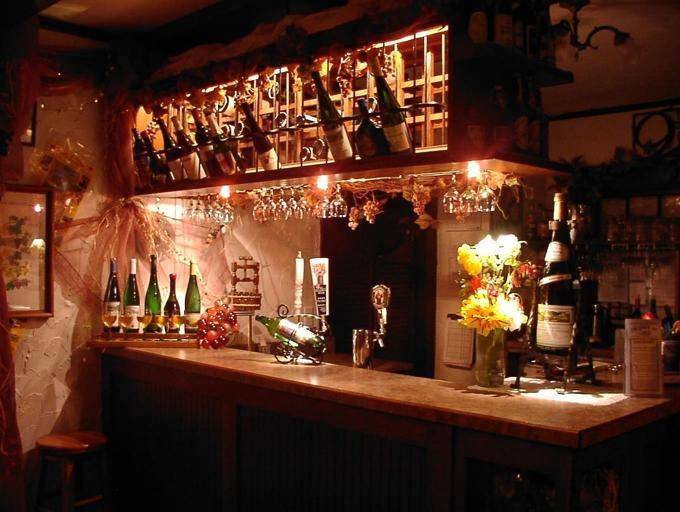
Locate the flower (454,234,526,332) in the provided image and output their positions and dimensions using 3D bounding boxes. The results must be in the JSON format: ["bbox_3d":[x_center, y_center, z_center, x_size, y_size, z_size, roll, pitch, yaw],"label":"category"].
[{"bbox_3d":[0.715,0.126,2.670,0.309,0.445,0.377,-2,8,11],"label":"flower"}]

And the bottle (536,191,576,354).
[{"bbox_3d":[0.996,0.073,2.580,0.236,0.702,0.196,-10,10,-42],"label":"bottle"}]

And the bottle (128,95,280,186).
[{"bbox_3d":[-0.862,-0.721,3.590,0.608,0.315,0.099,-16,6,24],"label":"bottle"}]

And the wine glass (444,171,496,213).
[{"bbox_3d":[0.642,-0.322,2.805,0.189,0.177,0.077,0,-7,-15],"label":"wine glass"}]

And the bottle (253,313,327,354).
[{"bbox_3d":[-0.310,0.444,3.250,0.469,0.160,0.158,21,24,25],"label":"bottle"}]

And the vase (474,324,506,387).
[{"bbox_3d":[0.707,0.475,2.652,0.125,0.293,0.146,-2,8,12],"label":"vase"}]

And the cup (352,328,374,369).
[{"bbox_3d":[0.135,0.516,3.174,0.140,0.217,0.060,-9,9,-38],"label":"cup"}]
